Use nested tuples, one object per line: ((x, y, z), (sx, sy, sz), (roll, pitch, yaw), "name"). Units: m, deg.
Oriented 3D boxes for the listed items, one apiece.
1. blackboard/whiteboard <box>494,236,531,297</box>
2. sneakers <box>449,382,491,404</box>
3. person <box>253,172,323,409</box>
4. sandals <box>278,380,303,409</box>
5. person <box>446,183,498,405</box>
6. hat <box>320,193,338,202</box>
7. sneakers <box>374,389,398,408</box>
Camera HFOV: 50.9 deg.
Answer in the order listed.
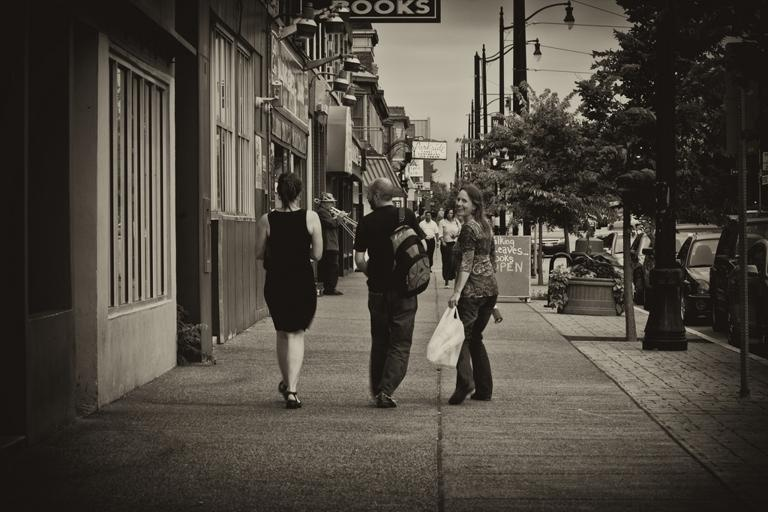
((3.167, 0.259, 19.781), (1.275, 2.038, 0.205), (0, 1, 9), "blackboard/whiteboard")
((0.998, 1.575, 9.279), (0.567, 0.289, 0.202), (1, -5, -15), "sneakers")
((-1.063, 0.374, 8.944), (0.710, 2.569, 0.485), (1, 3, -11), "person")
((-1.049, 1.535, 8.887), (0.143, 0.136, 0.411), (1, 8, -1), "sandals")
((1.019, 0.445, 9.204), (0.531, 2.457, 0.387), (1, 3, -3), "person")
((-1.556, -1.597, 22.282), (0.603, 0.193, 0.660), (0, 3, 0), "hat")
((0.010, 1.571, 8.931), (0.266, 0.192, 0.221), (2, 4, 10), "sneakers")
